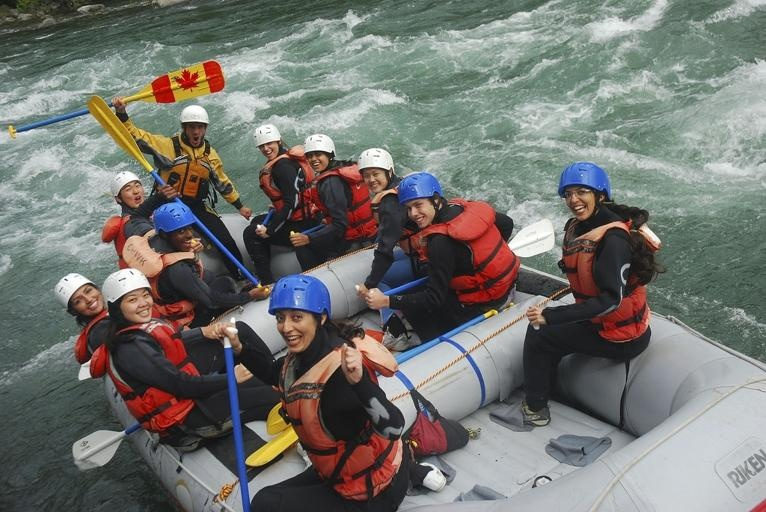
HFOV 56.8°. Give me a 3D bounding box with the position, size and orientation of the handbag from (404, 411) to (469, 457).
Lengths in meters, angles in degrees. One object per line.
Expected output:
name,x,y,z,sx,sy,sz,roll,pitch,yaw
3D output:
handbag,0.520,1.812,7.177,0.559,0.252,0.526,3,47,-25

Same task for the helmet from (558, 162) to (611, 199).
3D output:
helmet,2.003,-0.823,7.121,0.363,0.467,0.377,1,38,42

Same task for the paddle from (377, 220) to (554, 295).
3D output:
paddle,0.903,0.013,7.904,1.967,0.081,0.390,-22,77,-3

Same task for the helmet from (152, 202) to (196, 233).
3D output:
helmet,-2.416,-0.461,8.030,0.428,0.266,0.311,15,35,22

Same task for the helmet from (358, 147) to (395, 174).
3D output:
helmet,-0.098,-1.173,8.472,0.292,0.365,0.276,-11,45,31

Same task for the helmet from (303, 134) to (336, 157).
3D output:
helmet,-0.808,-1.407,9.062,0.304,0.284,0.367,-3,35,9

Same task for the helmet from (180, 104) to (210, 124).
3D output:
helmet,-2.494,-1.836,9.283,0.316,0.232,0.353,-7,44,-19

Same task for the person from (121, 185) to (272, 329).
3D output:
person,-2.256,0.029,8.429,0.957,1.398,0.921,-29,56,-17

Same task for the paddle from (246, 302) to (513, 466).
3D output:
paddle,0.248,1.415,7.614,3.936,0.183,1.012,-20,44,-25

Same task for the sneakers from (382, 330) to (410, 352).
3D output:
sneakers,0.154,0.982,8.186,0.400,0.164,0.130,-6,51,-19

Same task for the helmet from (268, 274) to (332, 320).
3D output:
helmet,-0.730,0.317,6.237,0.377,0.433,0.332,4,47,13

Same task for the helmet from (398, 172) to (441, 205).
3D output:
helmet,0.394,-0.717,7.699,0.309,0.416,0.310,-6,66,56

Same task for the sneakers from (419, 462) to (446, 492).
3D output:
sneakers,0.517,2.161,6.895,0.298,0.108,0.178,13,81,35

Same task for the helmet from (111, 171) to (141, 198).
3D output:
helmet,-3.363,-0.909,9.073,0.299,0.239,0.371,-35,23,-30

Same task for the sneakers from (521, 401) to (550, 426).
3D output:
sneakers,1.622,1.677,7.420,0.365,0.154,0.147,24,41,38

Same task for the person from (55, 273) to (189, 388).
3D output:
person,-3.108,0.818,7.658,0.874,1.148,0.513,-26,29,-26
